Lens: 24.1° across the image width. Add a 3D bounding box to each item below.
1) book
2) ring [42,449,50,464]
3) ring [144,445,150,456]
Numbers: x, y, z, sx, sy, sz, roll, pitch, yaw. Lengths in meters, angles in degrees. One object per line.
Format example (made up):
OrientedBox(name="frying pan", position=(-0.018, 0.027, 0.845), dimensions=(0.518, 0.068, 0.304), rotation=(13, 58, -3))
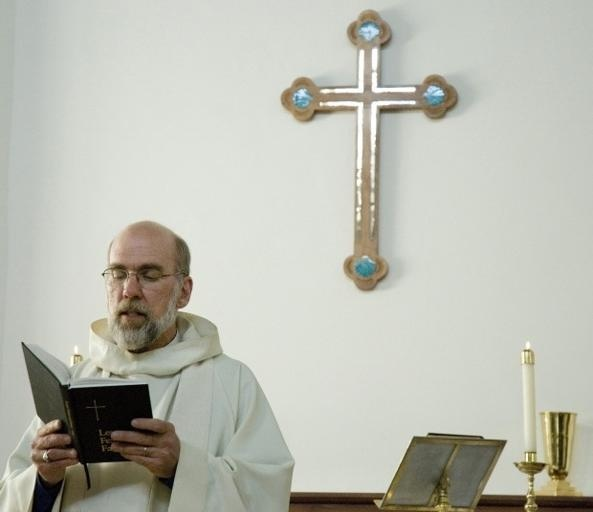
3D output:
OrientedBox(name="book", position=(-0.790, 0.569, 5.442), dimensions=(0.717, 0.426, 0.248), rotation=(4, 24, 22))
OrientedBox(name="ring", position=(-0.968, 0.772, 5.379), dimensions=(0.016, 0.042, 0.036), rotation=(4, 8, -21))
OrientedBox(name="ring", position=(-0.577, 0.752, 5.381), dimensions=(0.034, 0.046, 0.026), rotation=(1, 0, -3))
